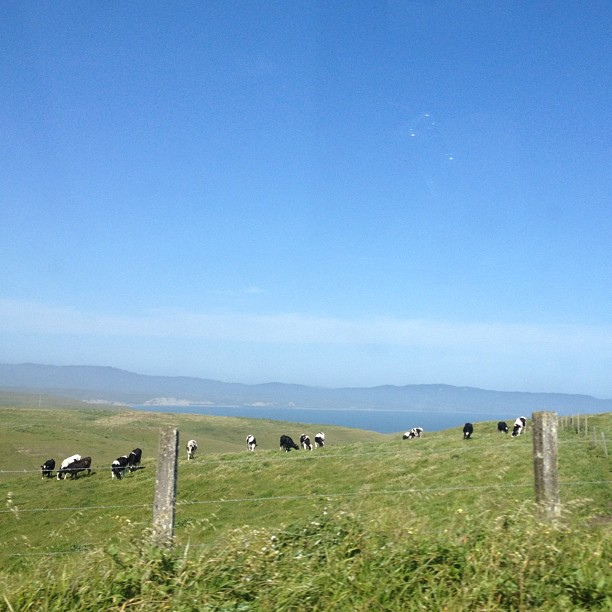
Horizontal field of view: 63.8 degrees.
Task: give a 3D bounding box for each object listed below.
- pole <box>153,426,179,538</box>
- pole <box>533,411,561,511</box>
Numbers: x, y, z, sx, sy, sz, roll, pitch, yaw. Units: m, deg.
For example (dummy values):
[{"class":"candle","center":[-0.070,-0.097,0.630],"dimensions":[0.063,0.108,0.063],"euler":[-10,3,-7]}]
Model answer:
[{"class":"pole","center":[-1.802,2.203,6.333],"dimensions":[0.276,1.320,0.416],"euler":[5,-8,-14]},{"class":"pole","center":[3.606,2.272,7.375],"dimensions":[0.343,1.388,0.739],"euler":[-1,-8,23]}]
